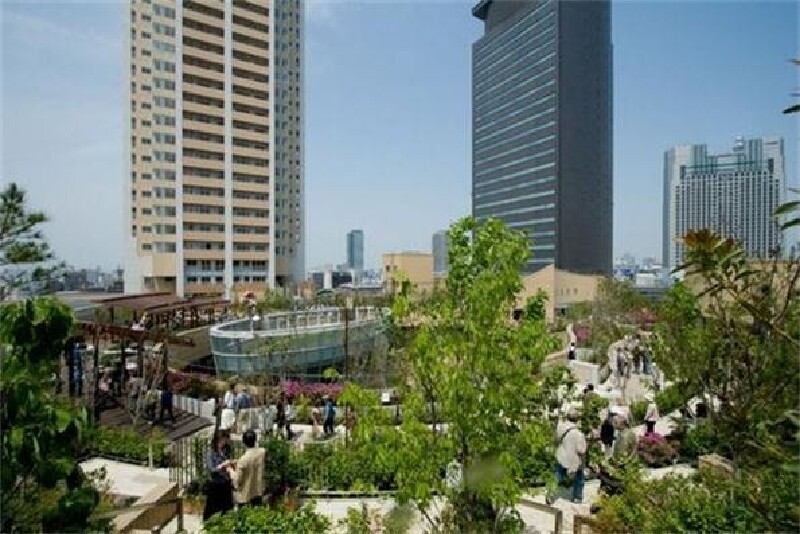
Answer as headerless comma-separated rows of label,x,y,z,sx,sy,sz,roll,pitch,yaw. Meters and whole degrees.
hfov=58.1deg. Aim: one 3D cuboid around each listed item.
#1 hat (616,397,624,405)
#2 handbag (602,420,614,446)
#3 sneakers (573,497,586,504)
hat,12.772,7.738,41.576,0.396,0.478,0.429,-10,-7,3
handbag,12.048,9.546,41.644,0.919,1.383,0.468,1,-2,8
sneakers,9.894,12.769,39.534,0.555,0.240,0.195,-5,7,-4
